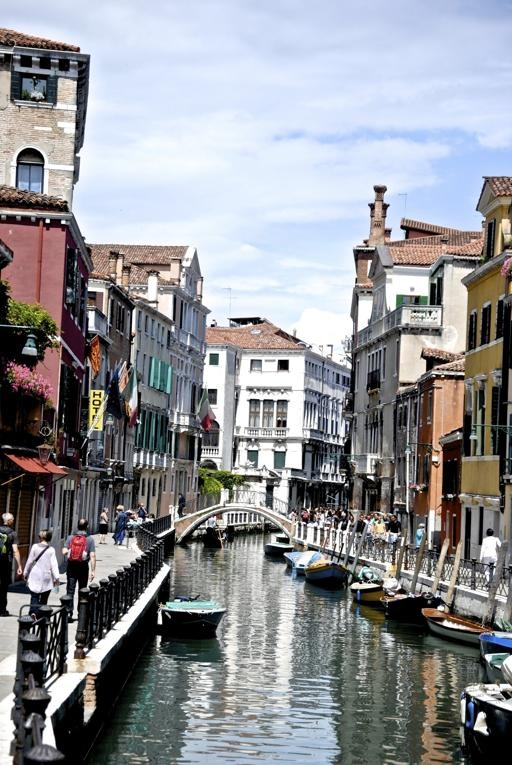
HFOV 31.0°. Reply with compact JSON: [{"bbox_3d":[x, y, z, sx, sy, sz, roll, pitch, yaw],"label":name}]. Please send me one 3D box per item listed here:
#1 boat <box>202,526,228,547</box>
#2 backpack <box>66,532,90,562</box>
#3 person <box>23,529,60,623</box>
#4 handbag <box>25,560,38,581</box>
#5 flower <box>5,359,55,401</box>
[{"bbox_3d":[-3.737,13.468,79.202,1.621,1.731,1.988,8,-42,5],"label":"boat"},{"bbox_3d":[-3.543,3.272,18.234,0.503,0.538,0.289,-1,-6,40],"label":"backpack"},{"bbox_3d":[-3.405,3.069,14.738,0.510,1.465,0.429,4,6,-10],"label":"person"},{"bbox_3d":[-3.569,2.996,14.579,0.077,0.304,0.219,22,2,-12],"label":"handbag"},{"bbox_3d":[-6.018,-0.042,24.295,0.704,0.852,2.294,3,-5,-1],"label":"flower"}]
